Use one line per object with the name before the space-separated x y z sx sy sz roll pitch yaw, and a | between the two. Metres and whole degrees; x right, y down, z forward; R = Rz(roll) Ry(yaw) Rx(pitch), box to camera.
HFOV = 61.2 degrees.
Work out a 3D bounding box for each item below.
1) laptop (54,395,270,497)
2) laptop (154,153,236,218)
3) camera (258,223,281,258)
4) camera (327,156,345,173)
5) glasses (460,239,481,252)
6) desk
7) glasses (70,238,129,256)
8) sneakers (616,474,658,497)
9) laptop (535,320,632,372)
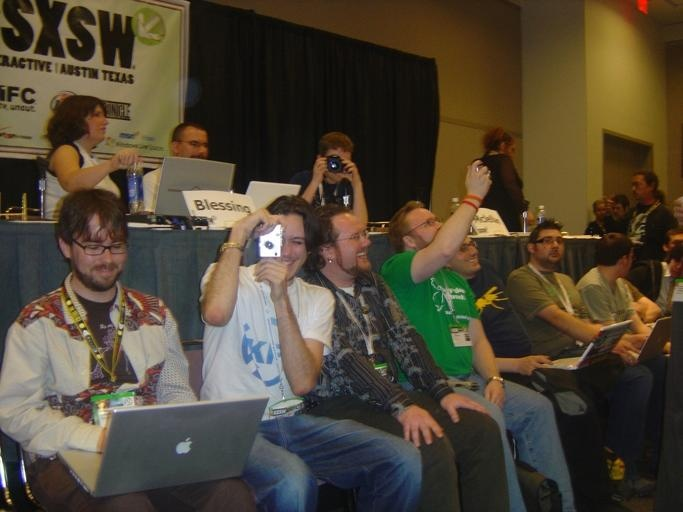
laptop | -0.598 0.660 2.049 0.464 0.311 0.457 1 3 -26
laptop | -0.925 -0.474 3.644 0.503 0.398 0.344 8 -15 -22
camera | -0.327 -0.058 2.608 0.115 0.151 0.037 -15 47 -5
camera | -0.049 -0.702 4.406 0.108 0.120 0.110 1 7 -3
glasses | 0.809 -0.063 3.658 0.107 0.084 0.145 -2 -8 -4
desk | 0.352 0.169 3.916 4.596 0.795 0.845 3 5 -24
glasses | -1.030 -0.037 2.455 0.208 0.061 0.065 3 5 -24
sneakers | 1.818 1.415 3.551 0.148 0.079 0.207 -2 -10 -45
laptop | 1.470 0.479 3.406 0.364 0.243 0.351 -14 16 -23
